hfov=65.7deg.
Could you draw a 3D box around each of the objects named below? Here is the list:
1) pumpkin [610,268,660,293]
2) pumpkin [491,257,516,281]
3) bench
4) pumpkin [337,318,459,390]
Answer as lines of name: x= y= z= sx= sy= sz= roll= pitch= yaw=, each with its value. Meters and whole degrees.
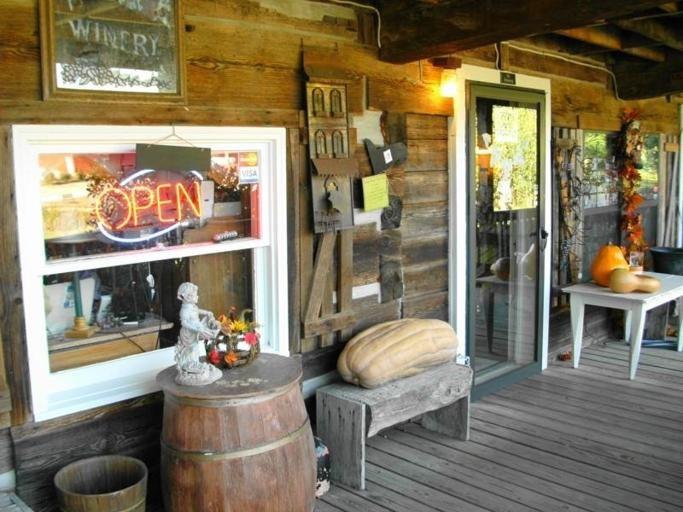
pumpkin: x=2.803 y=0.181 z=5.068 sx=0.446 sy=0.241 sz=0.273 roll=-1 pitch=11 yaw=-3
pumpkin: x=1.433 y=0.064 z=4.723 sx=0.256 sy=0.184 sz=0.198 roll=8 pitch=4 yaw=34
bench: x=0.400 y=1.140 z=3.629 sx=1.120 sy=0.553 sz=0.450 roll=-4 pitch=5 yaw=-44
pumpkin: x=0.386 y=0.624 z=3.614 sx=0.777 sy=0.297 sz=0.398 roll=-9 pitch=13 yaw=-38
